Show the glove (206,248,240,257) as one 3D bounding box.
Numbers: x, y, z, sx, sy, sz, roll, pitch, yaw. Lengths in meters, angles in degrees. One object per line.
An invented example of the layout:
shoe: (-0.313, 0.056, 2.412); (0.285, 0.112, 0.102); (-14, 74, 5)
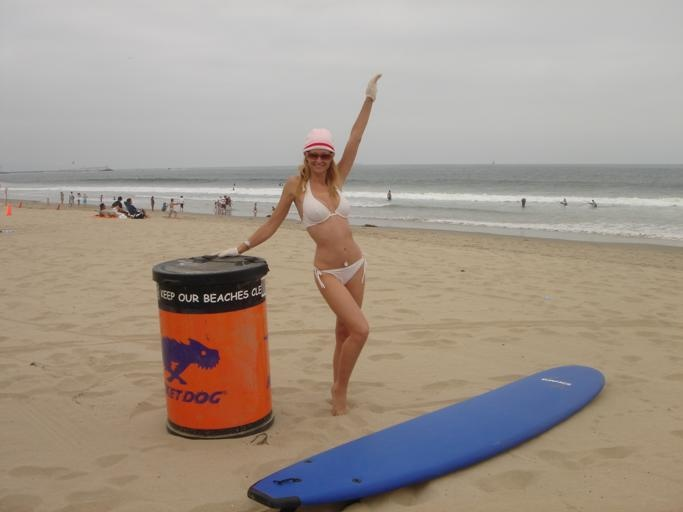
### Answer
glove: (-0.989, -0.023, 5.501); (0.157, 0.042, 0.120); (-16, 5, -23)

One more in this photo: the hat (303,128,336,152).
hat: (-0.170, -0.979, 5.437); (0.200, 0.197, 0.212); (-2, 6, -27)
